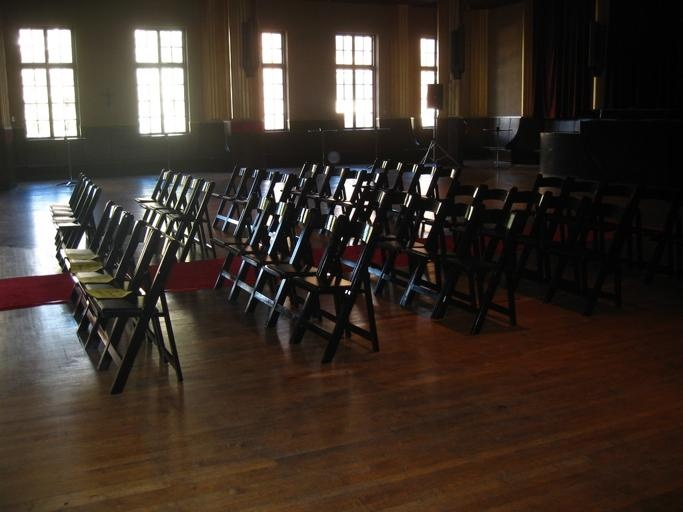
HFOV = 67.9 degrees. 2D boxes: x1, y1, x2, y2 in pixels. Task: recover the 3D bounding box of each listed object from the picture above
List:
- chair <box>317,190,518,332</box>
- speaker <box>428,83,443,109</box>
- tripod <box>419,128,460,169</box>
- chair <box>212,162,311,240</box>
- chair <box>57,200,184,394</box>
[{"bbox_3d":[0.682,0.069,4.341,0.497,1.101,1.137,2,6,-24],"label":"chair"},{"bbox_3d":[2.873,-4.874,15.448,0.479,0.723,0.411,2,12,9],"label":"speaker"},{"bbox_3d":[3.296,-3.665,16.793,1.128,1.254,2.284,1,13,5],"label":"tripod"},{"bbox_3d":[-1.142,-0.753,6.951,0.805,1.456,2.321,2,4,-27],"label":"chair"},{"bbox_3d":[-1.677,0.316,3.831,0.443,0.938,1.264,1,6,-22],"label":"chair"}]
